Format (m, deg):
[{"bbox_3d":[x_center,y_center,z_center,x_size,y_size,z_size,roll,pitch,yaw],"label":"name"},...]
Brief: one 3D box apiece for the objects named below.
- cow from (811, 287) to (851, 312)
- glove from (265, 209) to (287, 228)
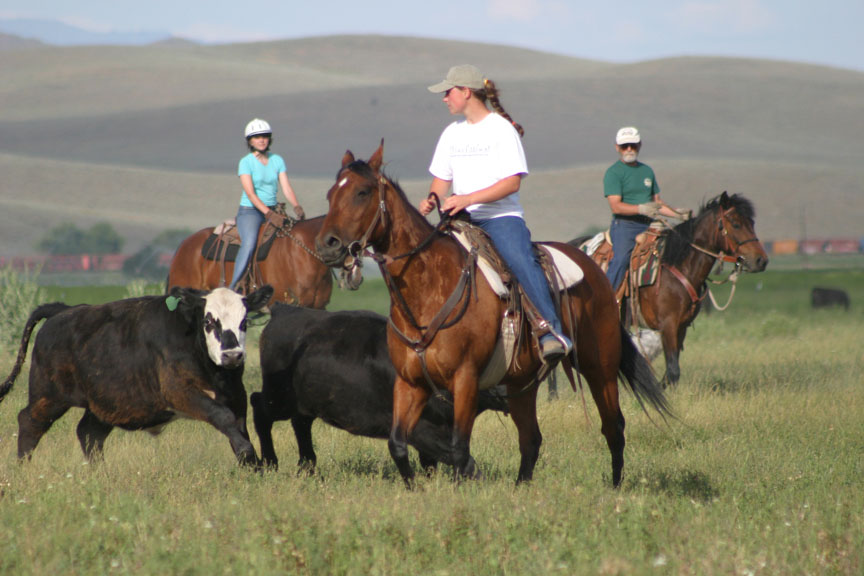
[{"bbox_3d":[16.447,0.404,69.742,1.851,0.770,1.857,6,16,21],"label":"cow"},{"bbox_3d":[-5.209,-2.359,56.263,0.652,0.333,0.481,13,-18,39],"label":"glove"}]
